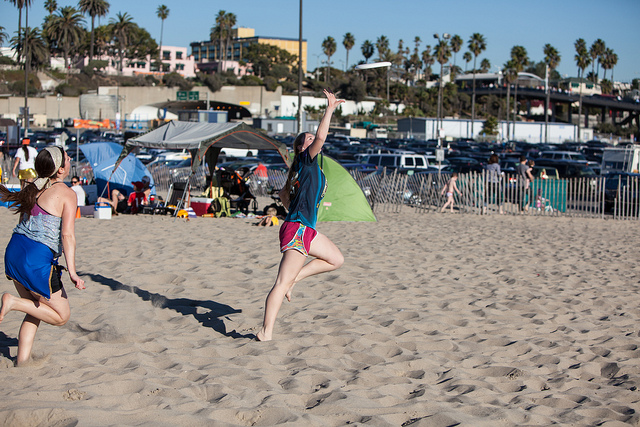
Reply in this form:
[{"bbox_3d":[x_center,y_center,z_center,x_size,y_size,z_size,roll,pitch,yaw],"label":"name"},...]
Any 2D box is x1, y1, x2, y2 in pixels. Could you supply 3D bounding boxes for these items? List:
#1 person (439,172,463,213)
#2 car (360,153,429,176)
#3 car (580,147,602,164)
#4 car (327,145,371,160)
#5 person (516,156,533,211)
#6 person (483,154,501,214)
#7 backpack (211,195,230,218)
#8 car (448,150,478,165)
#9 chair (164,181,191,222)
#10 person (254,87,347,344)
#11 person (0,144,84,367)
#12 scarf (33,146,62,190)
[{"bbox_3d":[3.844,-0.607,27.986,0.637,1.096,1.367,3,8,6],"label":"person"},{"bbox_3d":[2.845,-1.795,34.213,1.806,0.807,0.987,-3,9,-10],"label":"car"},{"bbox_3d":[15.528,-3.294,54.438,1.377,0.892,2.866,2,9,13],"label":"car"},{"bbox_3d":[1.304,-2.722,45.911,2.491,0.784,1.088,-4,10,-11],"label":"car"},{"bbox_3d":[6.008,-0.840,28.022,0.482,1.506,0.856,4,8,11],"label":"person"},{"bbox_3d":[5.054,-0.844,27.815,0.502,1.675,0.779,4,8,10],"label":"person"},{"bbox_3d":[-2.554,-0.140,24.760,0.505,0.549,0.504,-2,3,26],"label":"backpack"},{"bbox_3d":[6.374,-2.451,42.770,1.189,0.820,2.528,3,12,4],"label":"car"},{"bbox_3d":[-3.746,-0.400,24.686,0.632,1.080,0.692,6,-21,18],"label":"chair"},{"bbox_3d":[-0.267,0.072,14.149,1.197,3.735,0.614,2,8,-3],"label":"person"},{"bbox_3d":[-3.897,0.625,13.431,1.033,3.069,0.514,0,9,-17],"label":"person"},{"bbox_3d":[-3.759,-0.622,13.410,0.426,0.540,0.209,9,1,37],"label":"scarf"}]
